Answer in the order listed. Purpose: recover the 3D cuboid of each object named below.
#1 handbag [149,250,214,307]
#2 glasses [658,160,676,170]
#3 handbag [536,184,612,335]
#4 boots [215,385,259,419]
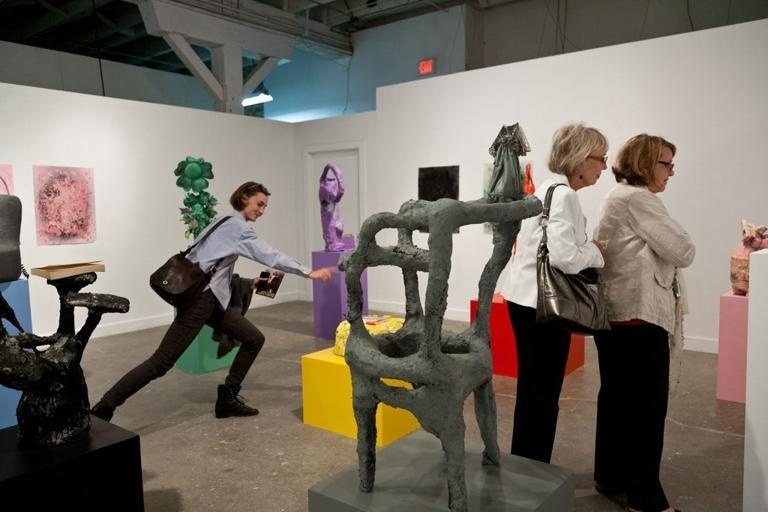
[{"bbox_3d":[-1.787,0.207,4.896,0.378,0.196,0.543,34,57,7],"label":"handbag"},{"bbox_3d":[1.930,-0.631,3.775,0.103,0.032,0.104,-3,9,-41],"label":"glasses"},{"bbox_3d":[1.238,0.026,3.590,0.465,0.973,0.368,2,12,18],"label":"handbag"},{"bbox_3d":[-1.408,1.418,5.354,0.541,0.374,0.209,0,-2,-8],"label":"boots"}]
